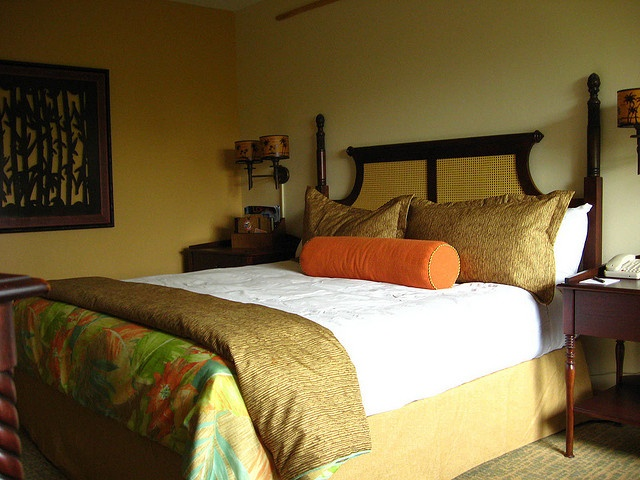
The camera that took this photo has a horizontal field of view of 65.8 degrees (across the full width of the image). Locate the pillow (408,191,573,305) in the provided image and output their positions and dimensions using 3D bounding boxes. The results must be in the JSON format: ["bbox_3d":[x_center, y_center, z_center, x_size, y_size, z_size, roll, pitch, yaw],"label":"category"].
[{"bbox_3d":[0.931,0.060,2.634,0.565,0.365,0.169,4,-11,43],"label":"pillow"}]
